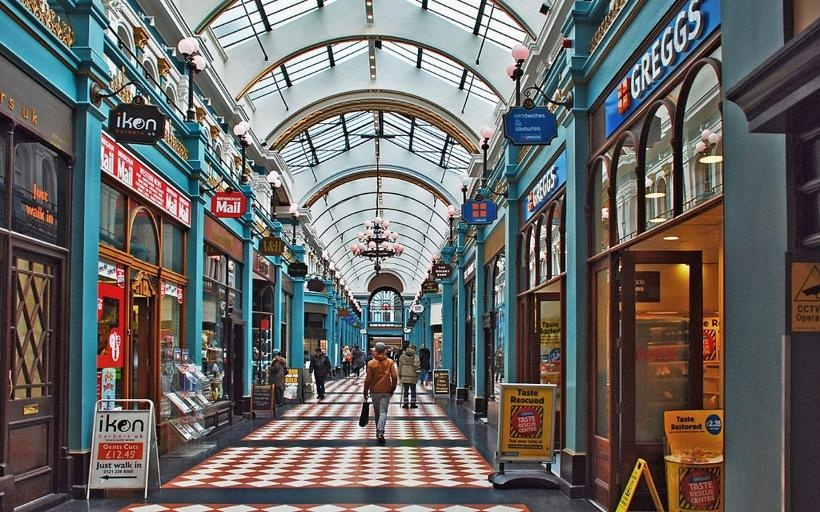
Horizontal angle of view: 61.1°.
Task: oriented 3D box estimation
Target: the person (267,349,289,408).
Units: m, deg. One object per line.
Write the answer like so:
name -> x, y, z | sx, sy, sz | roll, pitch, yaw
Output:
person -> -3.573, 3.276, 18.673 | 0.421, 1.346, 2.341 | 0, -16, -11

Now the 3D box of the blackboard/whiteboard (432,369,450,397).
blackboard/whiteboard -> 1.018, 4.080, 22.370 | 0.490, 0.852, 0.440 | -2, -14, -3
